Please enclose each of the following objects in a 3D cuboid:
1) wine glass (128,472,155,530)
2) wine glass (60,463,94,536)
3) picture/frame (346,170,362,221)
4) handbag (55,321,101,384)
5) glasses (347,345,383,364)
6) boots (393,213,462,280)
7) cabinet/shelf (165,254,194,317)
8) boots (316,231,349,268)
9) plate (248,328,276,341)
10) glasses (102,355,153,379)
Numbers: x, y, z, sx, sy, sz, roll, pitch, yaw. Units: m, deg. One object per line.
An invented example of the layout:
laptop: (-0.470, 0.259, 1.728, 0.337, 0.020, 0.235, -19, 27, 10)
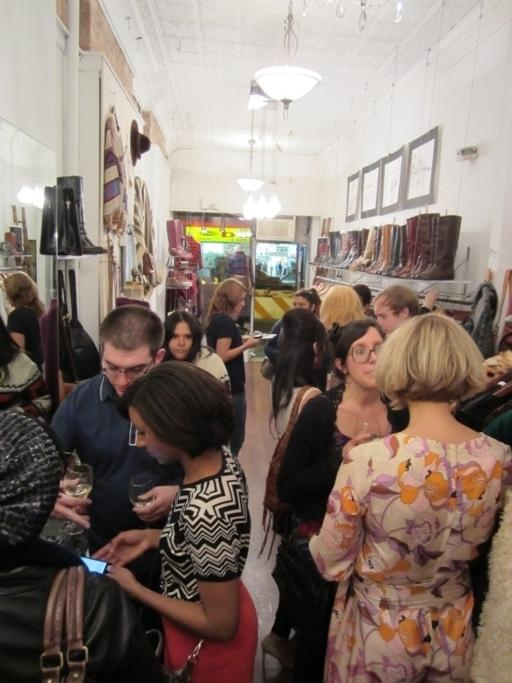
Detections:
wine glass: (-0.346, 0.437, 1.445, 0.066, 0.084, 0.089, -2, 11, -25)
wine glass: (-0.507, 0.445, 1.377, 0.078, 0.136, 0.256, -1, 11, -22)
picture/frame: (1.654, -2.496, 8.381, 0.070, 0.779, 0.796, 10, 24, 25)
handbag: (-1.100, 0.083, 2.930, 0.193, 0.399, 0.273, 0, 18, -21)
glasses: (0.419, 0.047, 1.790, 0.133, 0.059, 0.074, 0, 11, -19)
boots: (1.555, -0.878, 4.452, 0.570, 0.693, 0.707, -1, 6, -26)
cabinet/shelf: (-1.376, -1.077, 9.293, 0.304, 1.060, 1.103, 10, 21, 10)
boots: (1.312, -1.534, 8.108, 0.504, 0.695, 0.747, 0, 2, -16)
plate: (0.054, -0.100, 6.579, 0.234, 0.085, 0.233, 6, 10, -33)
glasses: (-0.441, 0.091, 1.663, 0.165, 0.061, 0.077, 0, 10, -16)
